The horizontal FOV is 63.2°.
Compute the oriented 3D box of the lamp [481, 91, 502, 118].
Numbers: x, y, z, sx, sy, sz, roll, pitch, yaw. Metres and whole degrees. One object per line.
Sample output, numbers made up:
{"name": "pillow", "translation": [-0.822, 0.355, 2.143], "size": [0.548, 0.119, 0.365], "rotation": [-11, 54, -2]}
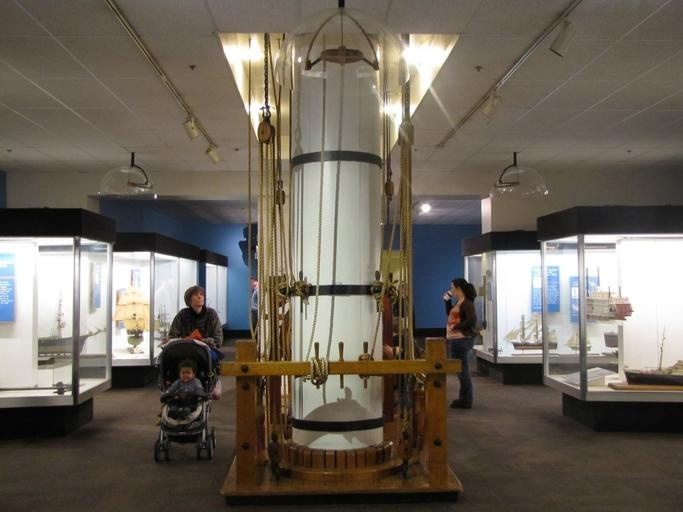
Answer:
{"name": "lamp", "translation": [1.803, -1.857, 6.695], "size": [0.162, 0.165, 0.300], "rotation": [16, -50, -12]}

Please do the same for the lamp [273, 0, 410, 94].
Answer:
{"name": "lamp", "translation": [-0.089, -1.373, 4.195], "size": [0.745, 0.523, 0.762], "rotation": [-3, 8, -24]}

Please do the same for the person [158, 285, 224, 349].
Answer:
{"name": "person", "translation": [-1.640, 0.778, 6.306], "size": [0.618, 0.889, 0.687], "rotation": [2, 1, 24]}

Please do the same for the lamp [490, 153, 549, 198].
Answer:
{"name": "lamp", "translation": [2.561, -1.168, 7.992], "size": [0.622, 0.541, 0.649], "rotation": [1, 8, 11]}

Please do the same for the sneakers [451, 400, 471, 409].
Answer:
{"name": "sneakers", "translation": [1.589, 1.976, 7.402], "size": [0.198, 0.085, 0.125], "rotation": [-1, 2, -4]}

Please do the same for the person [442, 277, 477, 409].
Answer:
{"name": "person", "translation": [1.620, 1.159, 7.507], "size": [0.368, 1.724, 0.583], "rotation": [-1, -1, 11]}

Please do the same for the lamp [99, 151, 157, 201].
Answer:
{"name": "lamp", "translation": [-2.884, -1.079, 7.644], "size": [0.669, 0.556, 0.707], "rotation": [3, 0, 9]}

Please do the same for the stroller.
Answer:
{"name": "stroller", "translation": [-1.612, 1.421, 5.656], "size": [0.637, 1.161, 0.730], "rotation": [-2, -5, 3]}

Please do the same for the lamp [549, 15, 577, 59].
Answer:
{"name": "lamp", "translation": [2.052, -2.069, 5.158], "size": [0.132, 0.159, 0.299], "rotation": [35, -31, 27]}
